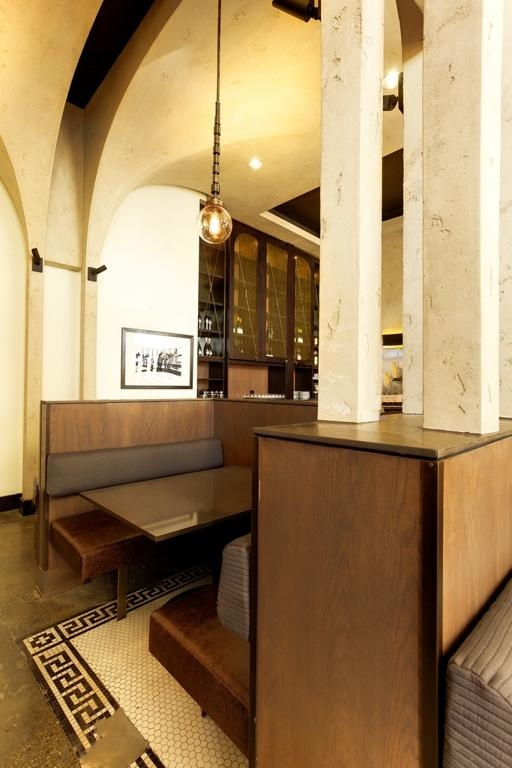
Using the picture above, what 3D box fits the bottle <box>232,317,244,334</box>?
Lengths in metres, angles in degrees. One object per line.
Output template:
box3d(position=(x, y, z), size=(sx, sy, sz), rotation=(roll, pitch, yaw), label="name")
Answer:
box3d(position=(-0.179, -0.595, 5.510), size=(0.018, 0.211, 0.134), rotation=(1, 0, 31), label="bottle")

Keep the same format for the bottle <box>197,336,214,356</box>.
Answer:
box3d(position=(-0.486, -0.373, 5.343), size=(0.053, 0.174, 0.240), rotation=(3, 4, 34), label="bottle")

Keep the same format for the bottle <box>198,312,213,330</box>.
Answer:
box3d(position=(-0.490, -0.625, 5.355), size=(0.054, 0.167, 0.227), rotation=(3, 4, 30), label="bottle")

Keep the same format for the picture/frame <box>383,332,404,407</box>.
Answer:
box3d(position=(1.674, -0.255, 6.830), size=(0.226, 0.772, 0.377), rotation=(2, 3, 13), label="picture/frame")
